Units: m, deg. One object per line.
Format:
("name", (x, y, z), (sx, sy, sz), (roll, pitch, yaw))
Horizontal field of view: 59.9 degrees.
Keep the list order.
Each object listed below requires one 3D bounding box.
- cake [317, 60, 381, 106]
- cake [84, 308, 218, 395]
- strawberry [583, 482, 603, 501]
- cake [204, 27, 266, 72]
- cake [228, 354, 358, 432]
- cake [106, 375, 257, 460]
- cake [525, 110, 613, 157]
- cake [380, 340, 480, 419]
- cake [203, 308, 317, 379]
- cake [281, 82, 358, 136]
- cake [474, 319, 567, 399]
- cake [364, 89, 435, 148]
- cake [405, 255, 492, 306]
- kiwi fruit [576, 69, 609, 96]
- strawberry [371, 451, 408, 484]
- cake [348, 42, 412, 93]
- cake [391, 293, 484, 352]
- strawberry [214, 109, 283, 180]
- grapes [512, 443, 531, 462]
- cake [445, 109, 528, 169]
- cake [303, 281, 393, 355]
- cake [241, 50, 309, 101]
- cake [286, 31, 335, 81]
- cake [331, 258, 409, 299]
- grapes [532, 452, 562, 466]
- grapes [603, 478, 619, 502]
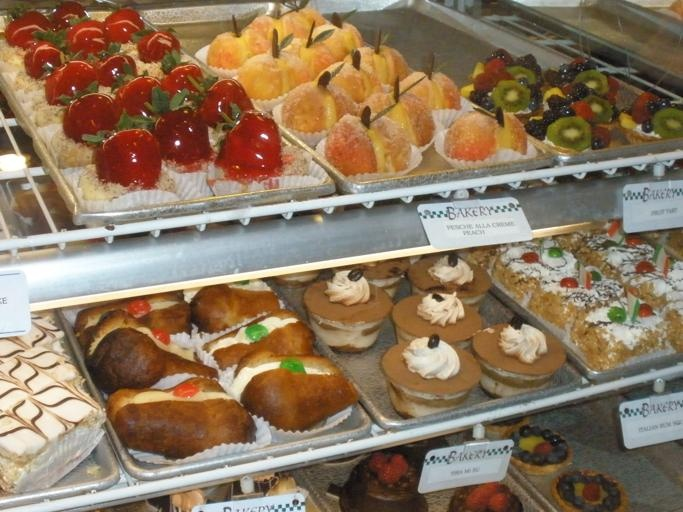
("cake", (0.045, -0.587, 1.979), (0.189, 0.061, 0.179), (4, 34, -6))
("cake", (-0.532, 0.289, 1.709), (0.334, 0.123, 0.219), (13, 21, -20))
("strawberry", (0.984, 0.926, 2.339), (0.072, 0.061, 0.037), (-24, -6, -21))
("cake", (-0.382, -0.758, 2.254), (0.218, 0.163, 0.191), (-19, 24, 0))
("cake", (-0.136, 0.374, 1.657), (0.298, 0.101, 0.216), (-7, 28, -33))
("cake", (-0.420, 0.418, 1.538), (0.290, 0.089, 0.199), (9, 20, -11))
("cake", (0.693, -0.408, 1.801), (0.210, 0.044, 0.197), (3, 26, -3))
("cake", (0.268, 0.365, 1.790), (0.308, 0.172, 0.264), (8, 30, 3))
("cake", (-0.257, 0.271, 1.862), (0.266, 0.080, 0.167), (-21, 46, -18))
("cake", (-0.071, -0.443, 1.803), (0.208, 0.108, 0.186), (-24, 47, -20))
("cake", (0.535, 0.345, 2.021), (0.309, 0.209, 0.281), (-10, 34, -14))
("cake", (0.173, -0.400, 1.858), (0.225, 0.131, 0.185), (8, 38, -7))
("cake", (0.394, 0.082, 2.221), (0.271, 0.074, 0.225), (-9, 35, -16))
("kiwi fruit", (0.914, -0.633, 2.169), (0.112, 0.084, 0.137), (-2, 28, 21))
("strawberry", (0.170, 0.753, 2.130), (0.104, 0.050, 0.119), (7, 2, 5))
("cake", (0.146, -0.692, 2.125), (0.305, 0.084, 0.246), (5, 43, -5))
("cake", (0.320, 0.218, 2.028), (0.262, 0.141, 0.220), (4, 30, 2))
("strawberry", (-0.234, -0.272, 1.501), (0.166, 0.147, 0.098), (-19, 29, -10))
("grapes", (0.742, 0.817, 2.454), (0.066, 0.018, 0.055), (2, 28, 2))
("cake", (0.412, -0.344, 1.712), (0.232, 0.125, 0.190), (-8, 44, -3))
("cake", (-0.016, 0.211, 2.101), (0.291, 0.139, 0.291), (28, 39, 32))
("cake", (-0.231, -0.622, 1.993), (0.225, 0.110, 0.192), (-13, 37, -12))
("cake", (-0.116, -0.728, 2.190), (0.226, 0.178, 0.173), (-2, 41, -7))
("cake", (0.167, 0.066, 2.267), (0.214, 0.062, 0.191), (-1, 23, 1))
("grapes", (0.846, 0.837, 2.433), (0.120, 0.049, 0.047), (-8, 28, 8))
("grapes", (1.068, 0.926, 2.357), (0.050, 0.017, 0.053), (5, 44, -10))
